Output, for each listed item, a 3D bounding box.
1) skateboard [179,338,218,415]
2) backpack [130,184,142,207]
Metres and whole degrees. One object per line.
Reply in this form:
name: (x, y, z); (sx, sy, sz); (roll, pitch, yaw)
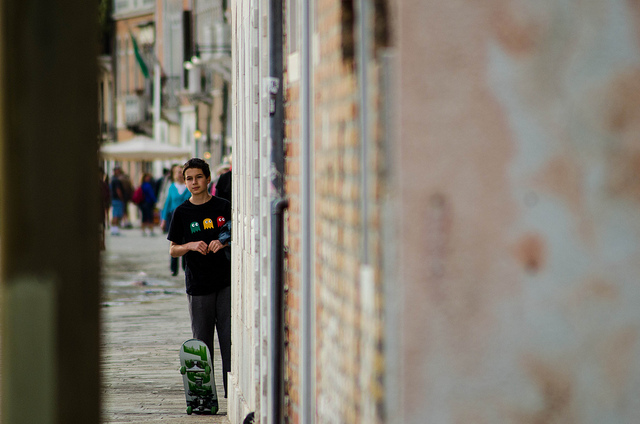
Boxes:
skateboard: (-0.931, 1.319, 10.339); (0.245, 0.141, 0.925); (3, 32, -11)
backpack: (-4.247, -0.342, 31.938); (0.154, 0.341, 0.565); (3, 91, -35)
